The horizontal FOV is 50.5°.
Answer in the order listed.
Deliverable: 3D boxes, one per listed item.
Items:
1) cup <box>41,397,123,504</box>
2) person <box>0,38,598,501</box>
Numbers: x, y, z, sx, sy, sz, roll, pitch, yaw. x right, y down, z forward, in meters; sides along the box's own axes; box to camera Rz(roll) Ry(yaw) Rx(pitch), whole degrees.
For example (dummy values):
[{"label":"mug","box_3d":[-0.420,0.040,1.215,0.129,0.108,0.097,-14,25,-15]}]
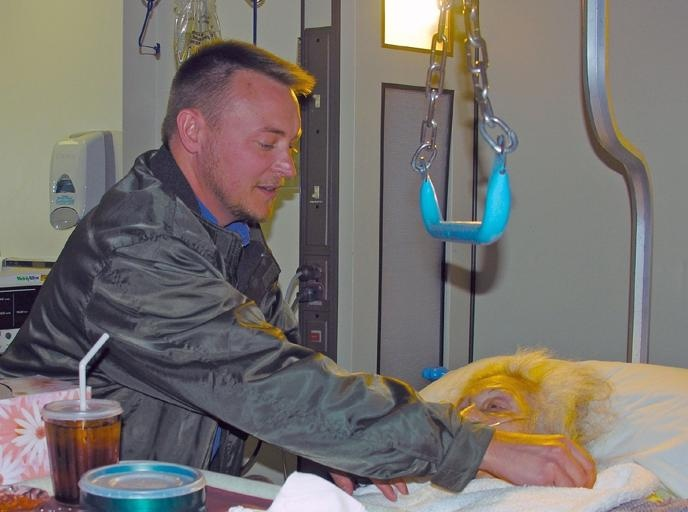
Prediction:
[{"label":"cup","box_3d":[-0.484,0.343,1.371,0.162,0.198,0.169,0,-1,0]},{"label":"person","box_3d":[-0.193,0.049,1.723,1.207,1.156,0.602,4,5,27]}]
